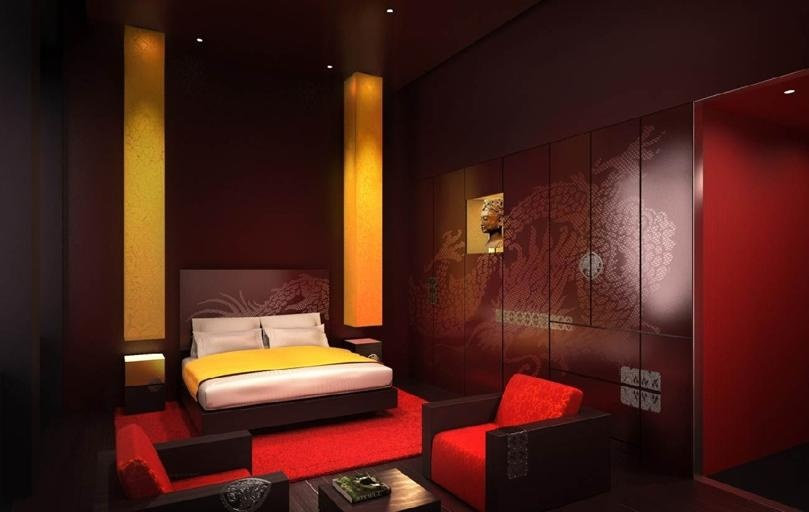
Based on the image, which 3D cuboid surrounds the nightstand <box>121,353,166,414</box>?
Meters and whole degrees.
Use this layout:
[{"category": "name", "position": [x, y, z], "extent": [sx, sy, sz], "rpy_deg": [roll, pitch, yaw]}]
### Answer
[{"category": "nightstand", "position": [-3.247, 1.589, 6.699], "extent": [0.631, 0.889, 0.452], "rpy_deg": [2, -6, -38]}]

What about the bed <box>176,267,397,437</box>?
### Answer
[{"category": "bed", "position": [-1.798, 0.871, 6.941], "extent": [2.208, 1.327, 2.078], "rpy_deg": [0, -4, -27]}]

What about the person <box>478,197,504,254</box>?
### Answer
[{"category": "person", "position": [1.151, -0.405, 7.002], "extent": [0.161, 0.719, 0.492], "rpy_deg": [-4, 8, -30]}]

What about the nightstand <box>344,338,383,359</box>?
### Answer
[{"category": "nightstand", "position": [-0.575, 1.288, 7.748], "extent": [0.343, 0.318, 0.335], "rpy_deg": [0, 3, -20]}]
